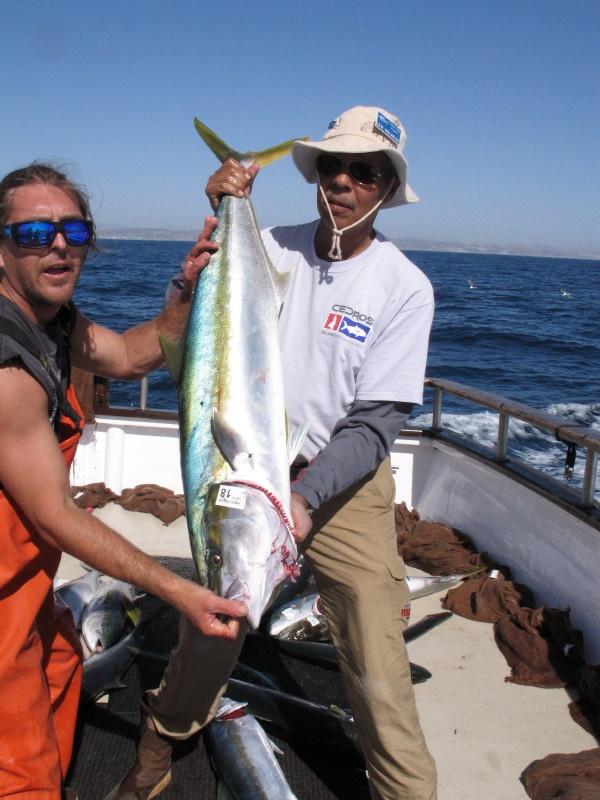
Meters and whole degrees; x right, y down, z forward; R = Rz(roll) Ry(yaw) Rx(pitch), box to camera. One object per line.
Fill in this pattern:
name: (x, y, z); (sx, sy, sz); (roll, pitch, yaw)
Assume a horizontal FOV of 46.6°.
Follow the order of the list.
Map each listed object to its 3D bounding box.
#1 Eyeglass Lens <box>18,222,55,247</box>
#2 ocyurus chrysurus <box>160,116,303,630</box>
Eyeglass Lens: (-0.679, -0.425, 1.804); (0.096, 0.064, 0.034); (-1, 15, -19)
ocyurus chrysurus: (-0.313, -0.140, 2.005); (0.407, 1.448, 0.651); (1, -16, -20)
